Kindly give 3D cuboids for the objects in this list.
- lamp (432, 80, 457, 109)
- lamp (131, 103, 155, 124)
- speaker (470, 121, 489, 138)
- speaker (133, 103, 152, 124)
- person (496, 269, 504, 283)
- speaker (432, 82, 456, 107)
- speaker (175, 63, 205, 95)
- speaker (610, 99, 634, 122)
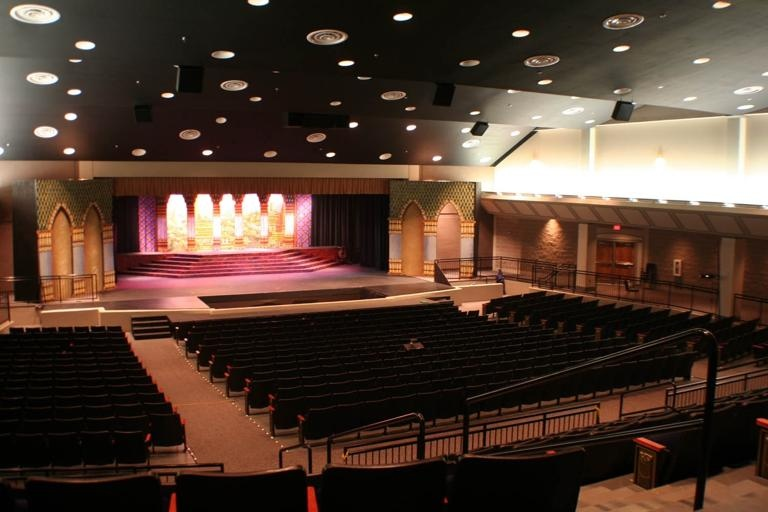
[{"bbox_3d":[1.587,-4.345,14.857,0.546,0.589,0.706,-2,5,10],"label":"lamp"},{"bbox_3d":[-6.558,-3.949,15.536,0.684,0.496,0.146,-1,24,-1],"label":"lamp"},{"bbox_3d":[3.424,-4.567,20.067,0.573,0.135,0.461,4,-34,-11],"label":"speaker"},{"bbox_3d":[-6.588,-3.968,15.406,0.396,0.446,0.377,-4,5,-14],"label":"speaker"},{"bbox_3d":[5.107,0.853,24.537,0.352,0.579,0.808,-2,5,11],"label":"person"},{"bbox_3d":[1.587,-4.345,14.857,0.546,0.589,0.706,-2,5,10],"label":"speaker"},{"bbox_3d":[-4.078,-3.759,11.824,0.516,0.457,1.156,-4,5,-20],"label":"speaker"},{"bbox_3d":[6.502,-3.990,15.269,0.518,0.532,0.939,-1,5,21],"label":"speaker"}]
